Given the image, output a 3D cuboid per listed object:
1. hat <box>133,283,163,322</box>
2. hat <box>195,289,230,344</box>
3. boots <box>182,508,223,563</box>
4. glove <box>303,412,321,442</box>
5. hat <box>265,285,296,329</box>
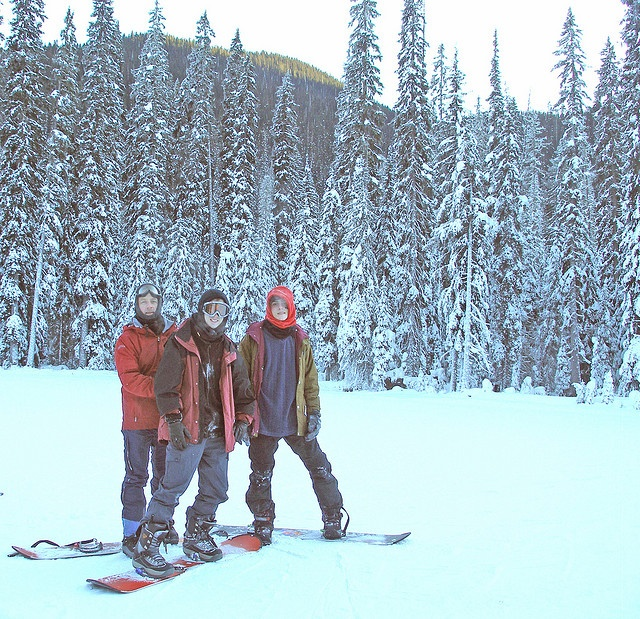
[{"bbox_3d":[-2.401,-0.189,10.033,0.257,0.450,0.276,23,24,31],"label":"hat"},{"bbox_3d":[-1.517,0.107,9.519,0.529,0.912,0.553,3,-4,-24],"label":"hat"},{"bbox_3d":[-1.639,3.091,9.586,0.715,0.879,0.365,-1,-4,33],"label":"boots"},{"bbox_3d":[-0.090,1.706,10.175,0.265,0.347,0.109,44,1,16],"label":"glove"},{"bbox_3d":[-0.505,-0.061,10.361,0.432,0.685,0.471,-11,12,-43],"label":"hat"}]
